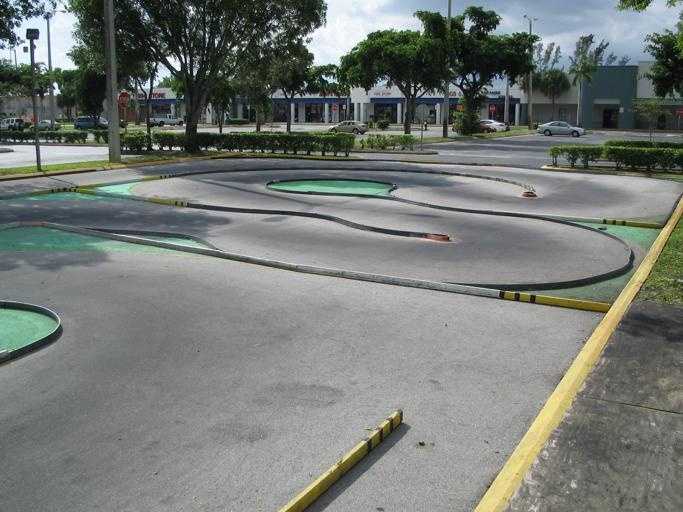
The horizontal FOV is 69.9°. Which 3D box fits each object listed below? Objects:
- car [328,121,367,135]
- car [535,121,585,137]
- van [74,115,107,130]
[{"bbox_3d":[1.082,-15.489,58.348,3.828,1.650,5.684,3,12,6],"label":"car"},{"bbox_3d":[23.871,-13.904,53.200,2.271,1.768,5.626,-1,13,-12],"label":"car"},{"bbox_3d":[-32.279,-17.445,63.210,3.211,1.878,8.823,-8,16,-38],"label":"van"}]
